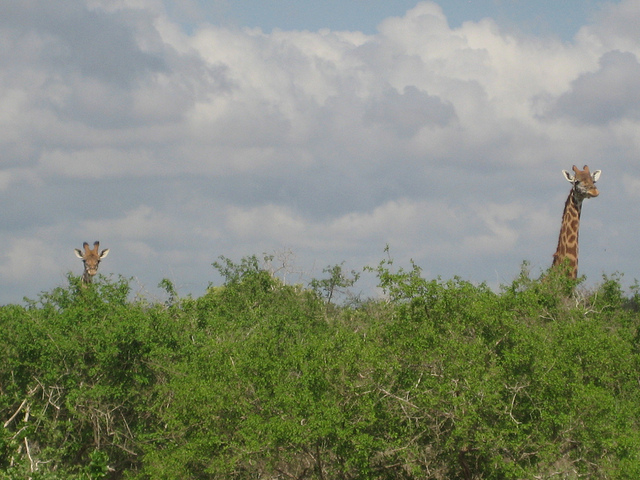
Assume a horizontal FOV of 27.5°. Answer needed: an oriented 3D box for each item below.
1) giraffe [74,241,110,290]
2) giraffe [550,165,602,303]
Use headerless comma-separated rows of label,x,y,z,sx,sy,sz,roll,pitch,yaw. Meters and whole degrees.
giraffe,-11.749,1.094,67.110,0.982,1.999,1.018,6,-4,25
giraffe,12.833,0.914,67.658,1.571,9.013,3.205,9,-8,-29
